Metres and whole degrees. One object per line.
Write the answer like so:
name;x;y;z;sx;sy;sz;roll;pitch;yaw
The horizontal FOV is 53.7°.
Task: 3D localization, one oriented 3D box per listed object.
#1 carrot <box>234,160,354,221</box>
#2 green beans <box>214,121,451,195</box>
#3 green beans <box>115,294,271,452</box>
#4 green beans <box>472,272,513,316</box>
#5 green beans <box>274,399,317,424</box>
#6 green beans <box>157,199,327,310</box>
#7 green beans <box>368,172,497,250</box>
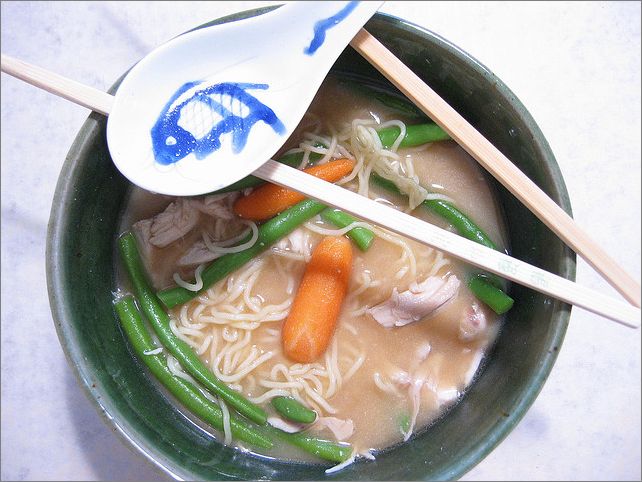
carrot;-0.097;-0.208;2.762;0.601;0.154;0.177;-22;66;13
green beans;0.150;-0.449;2.833;0.833;0.764;0.337;0;105;23
green beans;-0.551;0.580;2.684;0.161;0.118;0.717;-32;87;7
green beans;0.715;0.222;2.690;0.111;0.071;0.202;-43;54;2
green beans;-0.109;0.732;2.732;0.176;0.061;0.097;26;72;13
green beans;-0.350;0.042;2.732;0.629;0.092;0.095;-36;59;-4
green beans;0.474;-0.122;2.672;0.430;0.077;0.048;39;47;9
